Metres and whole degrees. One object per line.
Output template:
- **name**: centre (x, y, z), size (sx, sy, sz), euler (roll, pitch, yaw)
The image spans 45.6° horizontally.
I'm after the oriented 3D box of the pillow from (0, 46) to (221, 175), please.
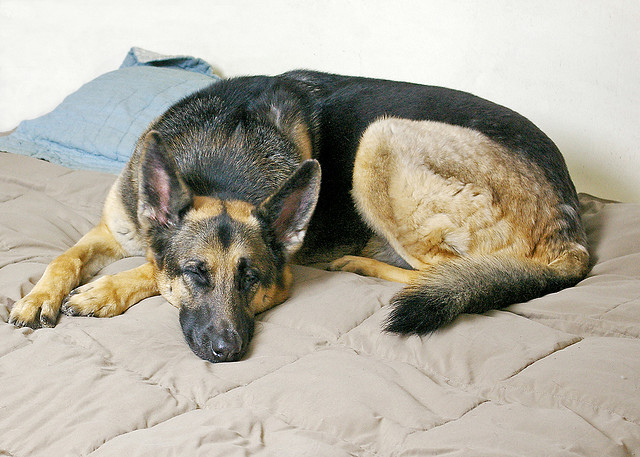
- **pillow**: centre (-1.828, -0.925, 6.342), size (1.359, 0.365, 1.437), euler (23, 52, 27)
